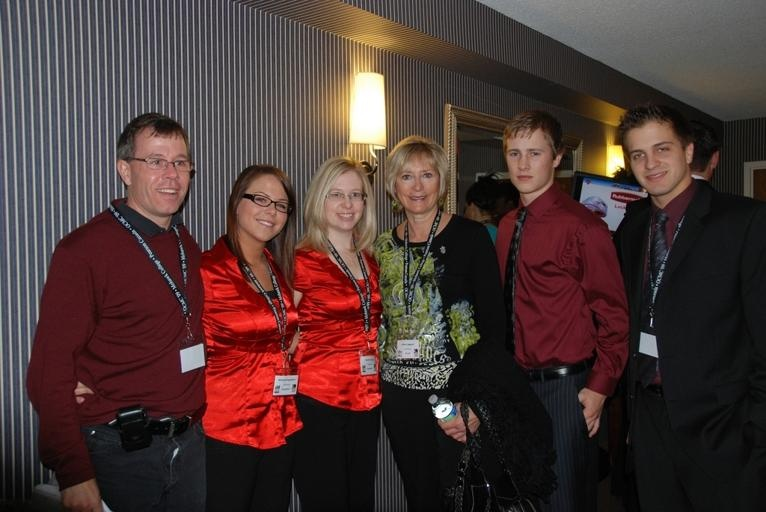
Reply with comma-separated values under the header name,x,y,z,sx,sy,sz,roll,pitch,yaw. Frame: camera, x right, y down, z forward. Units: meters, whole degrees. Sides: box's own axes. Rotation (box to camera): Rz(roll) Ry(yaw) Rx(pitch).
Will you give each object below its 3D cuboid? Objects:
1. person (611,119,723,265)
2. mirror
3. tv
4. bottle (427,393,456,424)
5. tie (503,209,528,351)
name,x,y,z,sx,sy,sz,roll,pitch,yaw
person,2.013,-0.723,4.307,0.560,0.847,0.611,-15,2,25
mirror,0.989,-0.713,5.876,0.024,1.332,1.223,3,5,41
tv,2.113,-0.526,5.420,0.656,0.658,0.546,5,-27,15
bottle,0.335,0.858,3.407,0.087,0.102,0.167,-1,-36,37
tie,0.781,0.133,3.553,0.101,0.999,0.071,5,-5,-10
